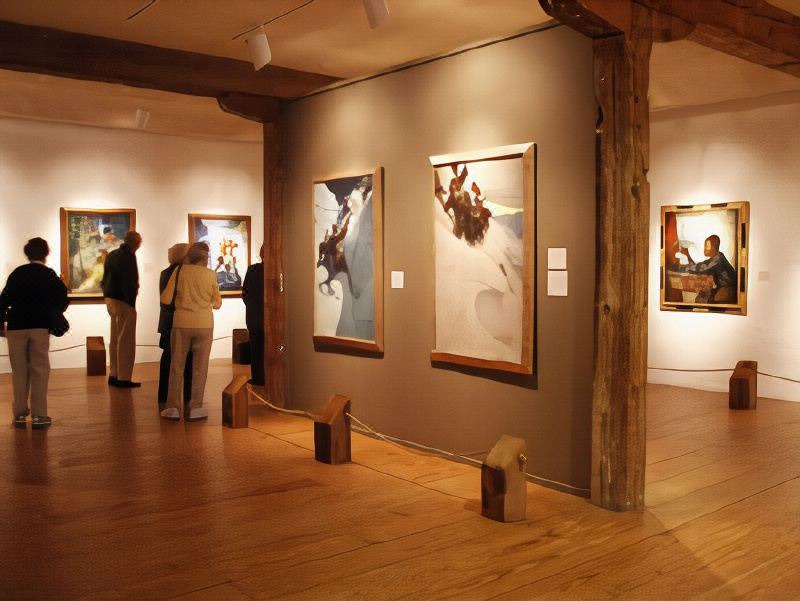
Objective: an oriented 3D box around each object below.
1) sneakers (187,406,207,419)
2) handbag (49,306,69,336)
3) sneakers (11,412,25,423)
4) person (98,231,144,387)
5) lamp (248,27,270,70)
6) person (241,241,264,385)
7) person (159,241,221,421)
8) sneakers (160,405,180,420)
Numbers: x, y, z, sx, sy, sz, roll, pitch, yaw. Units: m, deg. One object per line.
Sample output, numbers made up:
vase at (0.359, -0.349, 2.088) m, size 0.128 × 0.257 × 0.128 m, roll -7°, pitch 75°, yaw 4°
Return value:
sneakers at (-2.606, 1.429, 7.913) m, size 0.224 × 0.217 × 0.118 m, roll 2°, pitch 1°, yaw -16°
handbag at (-4.028, 0.259, 7.380) m, size 0.306 × 0.410 × 0.122 m, roll -12°, pitch -9°, yaw 35°
sneakers at (-4.665, 1.430, 7.532) m, size 0.069 × 0.143 × 0.208 m, roll 1°, pitch 2°, yaw -21°
person at (-4.427, 0.119, 9.808) m, size 0.490 × 2.478 × 0.806 m, roll -2°, pitch 6°, yaw -32°
lamp at (-1.567, -2.809, 6.927) m, size 0.259 × 0.417 × 0.282 m, roll 3°, pitch 36°, yaw -6°
person at (-2.353, 0.375, 9.879) m, size 0.308 × 2.057 × 0.778 m, roll 0°, pitch 5°, yaw -15°
person at (-2.634, 0.395, 7.662) m, size 0.710 × 2.247 × 0.533 m, roll 4°, pitch 5°, yaw 27°
sneakers at (-2.947, 1.428, 7.906) m, size 0.118 × 0.126 × 0.288 m, roll 2°, pitch 2°, yaw -20°
